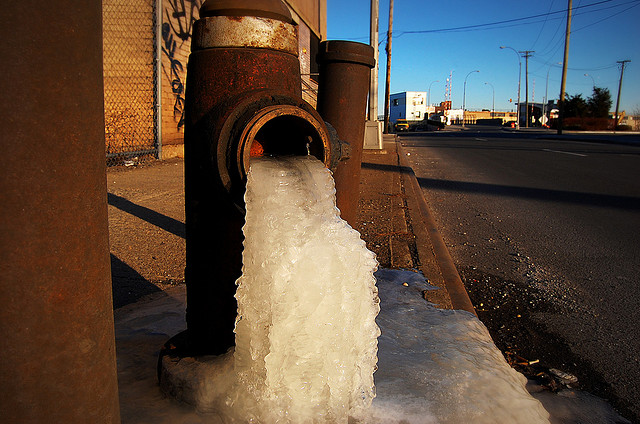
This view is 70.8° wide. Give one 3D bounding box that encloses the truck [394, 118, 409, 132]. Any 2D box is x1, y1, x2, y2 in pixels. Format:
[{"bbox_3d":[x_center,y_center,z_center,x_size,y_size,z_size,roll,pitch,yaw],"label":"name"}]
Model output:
[{"bbox_3d":[8.856,-9.379,48.927,1.148,1.093,2.123,0,9,4],"label":"truck"}]
